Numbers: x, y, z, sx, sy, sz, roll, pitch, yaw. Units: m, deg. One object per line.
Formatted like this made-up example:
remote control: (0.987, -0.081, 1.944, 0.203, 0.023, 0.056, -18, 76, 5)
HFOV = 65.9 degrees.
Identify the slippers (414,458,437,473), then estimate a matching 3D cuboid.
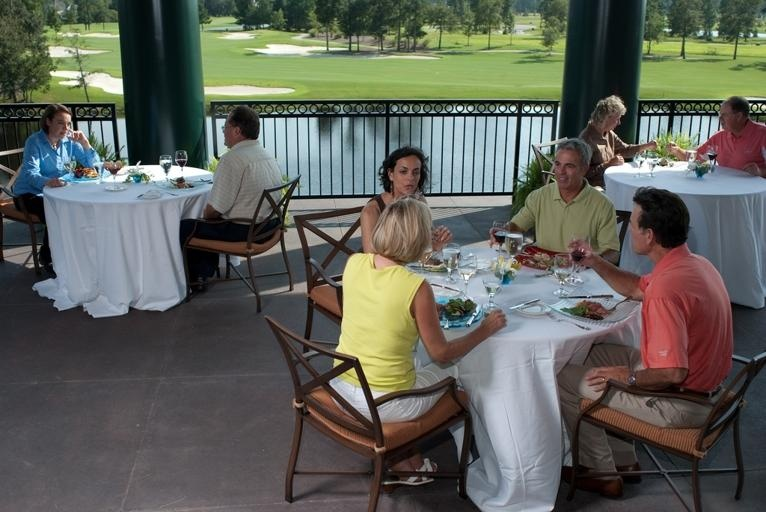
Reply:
slippers: (0.241, 1.221, 3.431, 0.089, 0.059, 0.151, -2, -2, 2)

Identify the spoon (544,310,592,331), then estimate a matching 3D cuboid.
spoon: (1.003, 0.355, 3.192, 0.176, 0.021, 0.026, 29, 75, 36)

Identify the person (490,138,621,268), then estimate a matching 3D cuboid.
person: (1.276, -0.257, 4.228, 0.819, 1.146, 0.703, 15, 32, 39)

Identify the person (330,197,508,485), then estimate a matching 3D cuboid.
person: (0.126, 0.541, 3.108, 0.775, 1.664, 0.454, -10, 20, -25)

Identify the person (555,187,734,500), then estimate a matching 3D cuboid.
person: (1.401, 0.509, 3.178, 0.799, 1.690, 0.657, 10, 22, 33)

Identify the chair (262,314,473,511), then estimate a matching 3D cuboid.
chair: (-0.052, 0.906, 3.223, 0.632, 0.956, 0.668, 21, 36, 39)

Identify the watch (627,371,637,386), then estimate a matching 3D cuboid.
watch: (1.258, 0.617, 2.996, 0.034, 0.074, 0.071, 4, 19, 16)

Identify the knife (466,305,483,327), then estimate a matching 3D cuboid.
knife: (0.491, 0.323, 3.203, 0.080, 0.028, 0.111, 4, 42, 44)

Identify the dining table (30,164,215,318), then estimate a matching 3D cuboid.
dining table: (-2.202, -0.061, 5.156, 1.137, 0.655, 1.207, 12, 25, 18)

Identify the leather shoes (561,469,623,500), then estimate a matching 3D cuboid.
leather shoes: (1.183, 1.292, 3.323, 0.255, 0.174, 0.201, -2, 0, 12)

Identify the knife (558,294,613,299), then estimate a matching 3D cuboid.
knife: (1.168, 0.237, 3.431, 0.220, 0.026, 0.025, 0, -3, 1)

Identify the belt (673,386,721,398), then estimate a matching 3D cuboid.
belt: (1.576, 0.689, 2.996, 0.101, 0.033, 0.090, 2, -4, 14)

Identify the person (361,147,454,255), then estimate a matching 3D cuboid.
person: (0.137, -0.380, 4.287, 0.620, 0.816, 0.672, -2, 12, -12)
